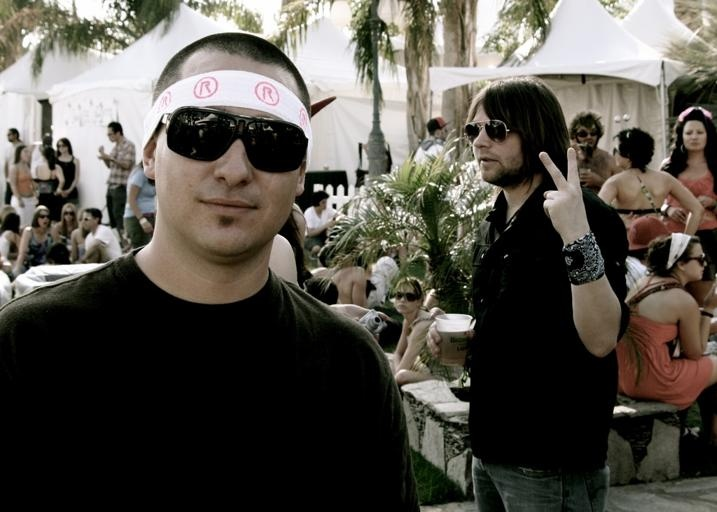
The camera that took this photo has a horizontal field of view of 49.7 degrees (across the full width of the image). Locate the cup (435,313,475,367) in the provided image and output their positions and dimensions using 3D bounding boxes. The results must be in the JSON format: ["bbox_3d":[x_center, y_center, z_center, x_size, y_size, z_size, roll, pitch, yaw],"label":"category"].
[{"bbox_3d":[0.484,0.407,3.735,0.206,0.242,0.223,1,-6,0],"label":"cup"}]

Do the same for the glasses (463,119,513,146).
[{"bbox_3d":[0.607,-0.538,3.466,0.117,0.048,0.121,0,-8,43],"label":"glasses"}]

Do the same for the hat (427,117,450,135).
[{"bbox_3d":[1.144,-1.986,11.344,0.224,0.337,0.181,20,-21,41],"label":"hat"}]
